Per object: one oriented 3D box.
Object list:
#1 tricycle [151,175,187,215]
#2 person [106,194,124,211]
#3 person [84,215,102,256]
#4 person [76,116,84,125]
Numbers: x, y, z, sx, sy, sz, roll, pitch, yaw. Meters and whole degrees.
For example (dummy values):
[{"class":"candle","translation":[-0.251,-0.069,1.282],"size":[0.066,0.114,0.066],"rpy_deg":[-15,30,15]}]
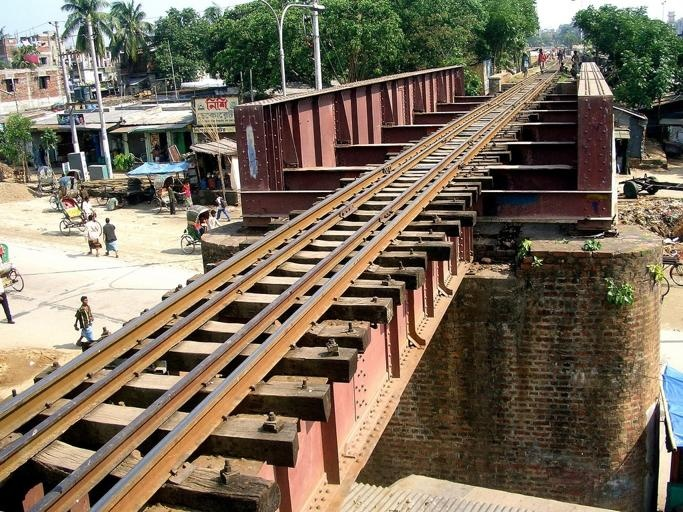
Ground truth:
[{"class":"tricycle","translation":[-8.710,-2.913,31.468],"size":[1.296,1.543,1.679],"rpy_deg":[-5,18,-18]},{"class":"person","translation":[-11.314,-2.565,32.292],"size":[0.736,0.678,1.354],"rpy_deg":[-5,12,-10]},{"class":"person","translation":[-9.329,-0.675,24.427],"size":[0.612,1.303,1.949],"rpy_deg":[-9,13,-21]},{"class":"person","translation":[-18.988,-9.785,47.037],"size":[0.480,0.454,0.817],"rpy_deg":[-3,3,-12]}]
